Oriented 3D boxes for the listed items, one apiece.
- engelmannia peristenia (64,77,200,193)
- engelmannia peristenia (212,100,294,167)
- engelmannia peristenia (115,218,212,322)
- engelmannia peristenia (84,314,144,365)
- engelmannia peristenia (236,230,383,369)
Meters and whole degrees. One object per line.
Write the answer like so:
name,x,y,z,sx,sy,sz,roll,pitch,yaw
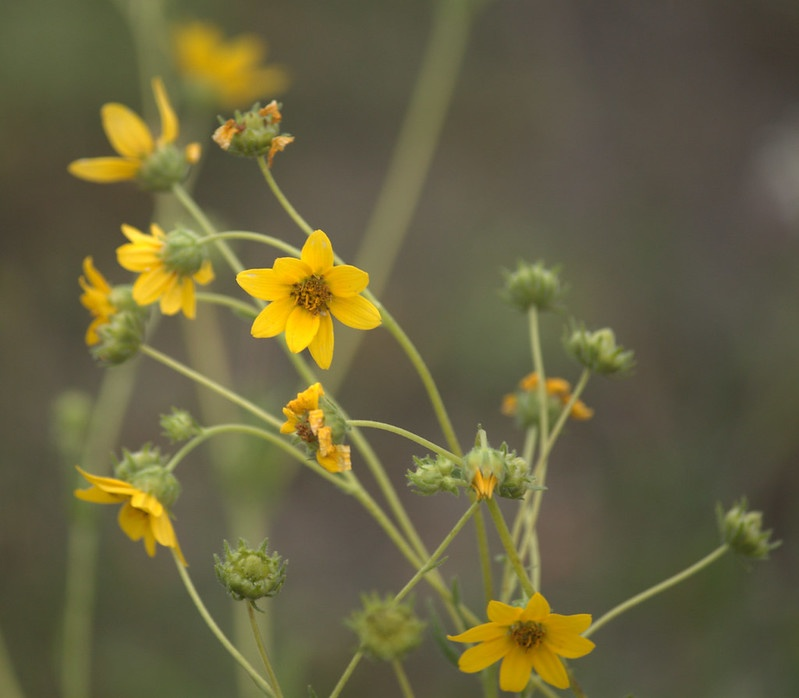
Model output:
engelmannia peristenia,-0.375,-0.245,1.526,0.081,0.246,0.209,-6,-8,22
engelmannia peristenia,-0.181,-0.292,1.441,0.083,0.092,0.053,-5,-47,-37
engelmannia peristenia,-0.317,-0.105,1.427,0.106,0.072,0.076,7,-52,-7
engelmannia peristenia,-0.380,-0.014,1.432,0.062,0.025,0.076,-28,-54,-37
engelmannia peristenia,-0.116,-0.086,1.408,0.151,0.064,0.188,-25,-25,29
